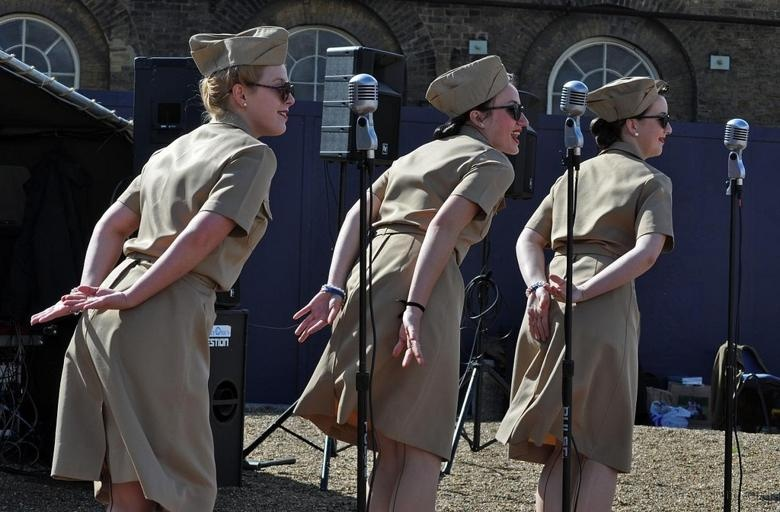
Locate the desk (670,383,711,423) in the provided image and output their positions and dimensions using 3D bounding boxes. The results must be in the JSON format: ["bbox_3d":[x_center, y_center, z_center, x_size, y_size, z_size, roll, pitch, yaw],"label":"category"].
[{"bbox_3d":[3.502,1.692,17.539,0.463,0.484,0.477,3,1,14],"label":"desk"}]

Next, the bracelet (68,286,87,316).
[{"bbox_3d":[-2.525,0.335,12.126,0.189,0.201,0.112,3,1,41],"label":"bracelet"}]

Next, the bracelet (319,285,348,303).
[{"bbox_3d":[-0.473,0.295,12.652,0.145,0.058,0.133,26,-8,1],"label":"bracelet"}]

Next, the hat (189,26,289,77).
[{"bbox_3d":[-1.239,-1.690,12.613,0.828,0.402,0.657,-4,0,12],"label":"hat"}]

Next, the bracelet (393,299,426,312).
[{"bbox_3d":[0.175,0.391,12.435,0.222,0.094,0.090,3,1,7],"label":"bracelet"}]

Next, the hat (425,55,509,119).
[{"bbox_3d":[0.673,-1.443,12.724,0.482,0.322,0.592,-24,11,17],"label":"hat"}]

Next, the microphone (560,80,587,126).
[{"bbox_3d":[1.581,-1.327,12.902,0.221,0.361,0.281,3,1,6],"label":"microphone"}]
